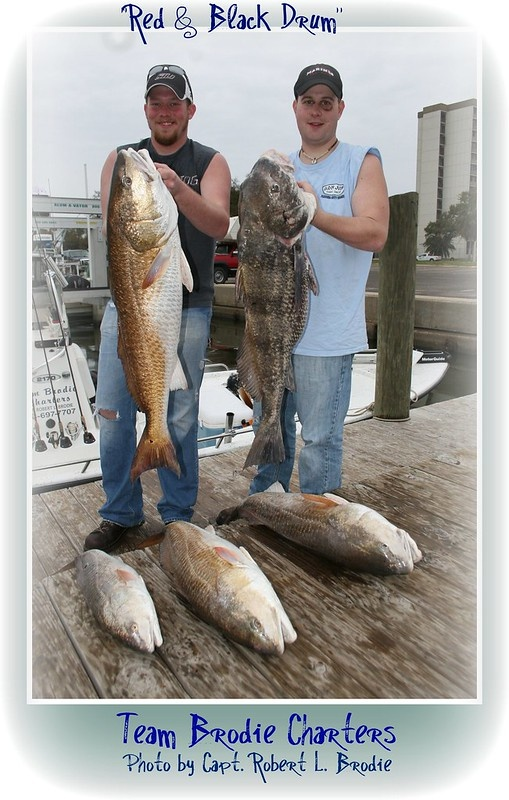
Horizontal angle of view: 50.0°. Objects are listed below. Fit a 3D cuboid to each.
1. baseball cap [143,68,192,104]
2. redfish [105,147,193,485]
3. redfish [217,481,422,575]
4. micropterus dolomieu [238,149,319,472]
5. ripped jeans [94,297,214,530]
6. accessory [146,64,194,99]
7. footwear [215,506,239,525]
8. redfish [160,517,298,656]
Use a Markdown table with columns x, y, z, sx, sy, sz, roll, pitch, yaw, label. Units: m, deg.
| x | y | z | sx | sy | sz | roll | pitch | yaw | label |
| --- | --- | --- | --- | --- | --- | --- | --- | --- | --- |
| -0.315 | -1.181 | 2.084 | 0.180 | 0.145 | 0.266 | 2 | 34 | 3 | baseball cap |
| -0.371 | -0.259 | 1.981 | 0.278 | 1.174 | 0.298 | -5 | 14 | -14 | redfish |
| 0.227 | 0.431 | 2.199 | 0.785 | 0.291 | 0.491 | 0 | 8 | -26 | redfish |
| 0.079 | -0.279 | 2.107 | 0.321 | 1.205 | 0.369 | -1 | 14 | 3 | micropterus dolomieu |
| -0.538 | 0.205 | 2.881 | 0.575 | 1.438 | 0.411 | 2 | 8 | -3 | ripped jeans |
| -0.302 | -1.179 | 2.087 | 0.183 | 0.148 | 0.270 | 2 | 36 | 3 | accessory |
| -0.138 | 0.583 | 2.719 | 0.108 | 0.054 | 0.148 | -3 | 9 | -6 | footwear |
| -0.103 | 0.592 | 1.811 | 0.240 | 0.177 | 0.668 | -9 | 16 | -29 | redfish |
